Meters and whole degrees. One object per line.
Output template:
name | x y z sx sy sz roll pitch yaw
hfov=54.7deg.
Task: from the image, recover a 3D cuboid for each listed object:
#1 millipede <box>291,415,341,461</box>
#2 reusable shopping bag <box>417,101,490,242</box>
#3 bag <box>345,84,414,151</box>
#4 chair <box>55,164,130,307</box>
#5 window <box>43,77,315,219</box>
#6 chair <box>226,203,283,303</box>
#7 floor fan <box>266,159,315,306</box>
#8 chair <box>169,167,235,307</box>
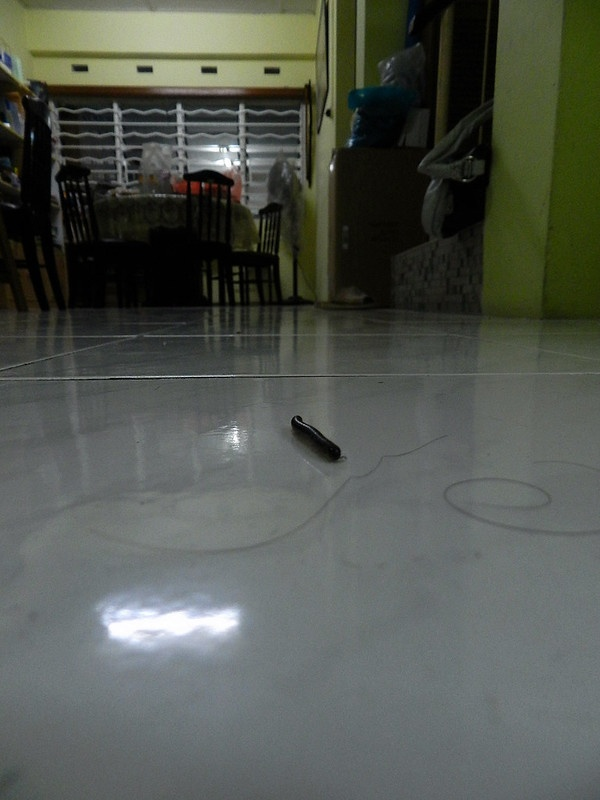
millipede | 0.004 0.016 0.306 0.010 0.014 0.050 1 21 -23
reusable shopping bag | 0.521 -0.804 1.985 0.233 0.448 0.472 2 11 16
bag | 0.468 -1.721 3.545 0.341 0.360 0.334 13 27 17
chair | -1.392 -1.141 4.260 0.457 1.097 0.444 -10 23 -14
window | -1.423 -2.862 6.994 3.201 1.939 0.200 -3 -12 -8
chair | -0.489 -1.473 5.862 0.634 0.969 0.597 0 14 -2
floor fan | -0.121 -1.993 6.725 0.438 1.770 0.398 -5 10 -6
chair | -0.638 -1.139 4.258 0.372 0.957 0.386 2 11 0
